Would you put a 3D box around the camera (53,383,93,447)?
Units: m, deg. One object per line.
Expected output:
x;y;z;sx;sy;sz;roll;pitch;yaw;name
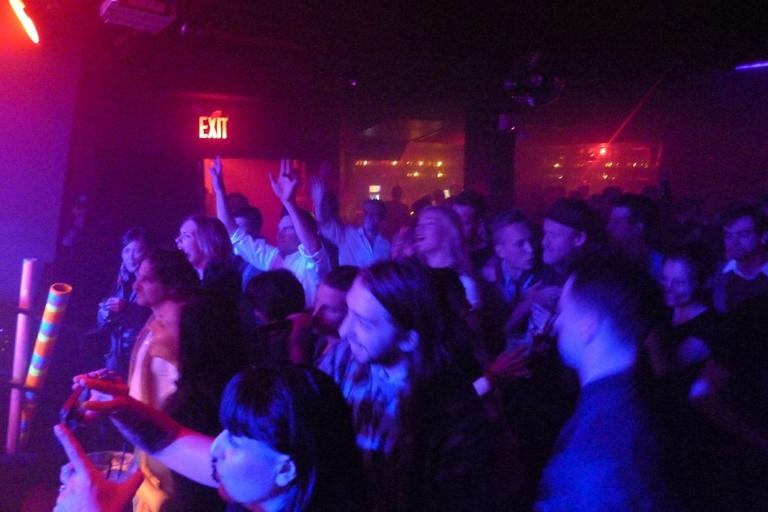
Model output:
-1.914;0.970;4.133;0.117;0.271;0.382;12;-43;-46;camera
